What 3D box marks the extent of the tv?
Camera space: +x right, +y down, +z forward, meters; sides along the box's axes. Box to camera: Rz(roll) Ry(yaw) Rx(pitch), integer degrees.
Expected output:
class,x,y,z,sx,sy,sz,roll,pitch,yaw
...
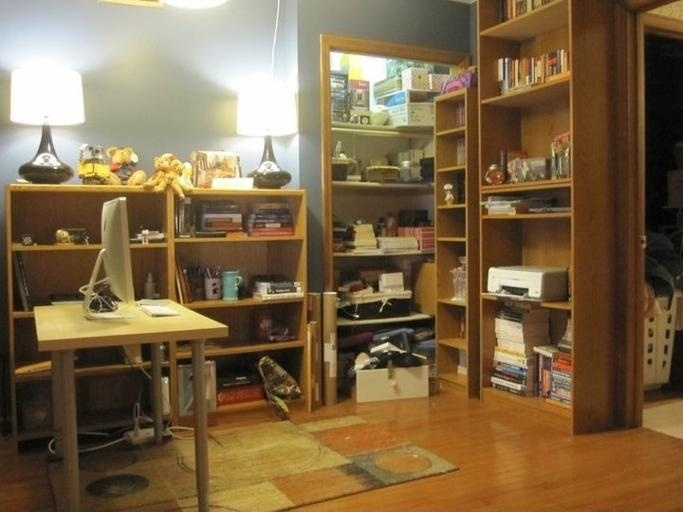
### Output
class,x,y,z,sx,sy,sz,roll,pitch,yaw
tv,-1.438,0.017,3.676,0.280,0.736,0.764,-1,2,-25

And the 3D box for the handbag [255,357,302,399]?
class,x,y,z,sx,sy,sz,roll,pitch,yaw
handbag,-0.491,0.965,4.642,0.256,0.360,0.150,-40,1,-22

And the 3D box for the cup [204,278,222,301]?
class,x,y,z,sx,sy,sz,roll,pitch,yaw
cup,-0.976,0.253,4.592,0.155,0.187,0.137,-2,6,-21

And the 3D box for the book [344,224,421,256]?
class,x,y,z,sx,sy,sz,roll,pitch,yaw
book,0.358,-0.143,5.118,0.677,0.267,0.105,-4,8,-23

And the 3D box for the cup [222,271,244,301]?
class,x,y,z,sx,sy,sz,roll,pitch,yaw
cup,-0.833,0.223,4.634,0.136,0.206,0.200,-1,8,2

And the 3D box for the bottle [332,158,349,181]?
class,x,y,z,sx,sy,sz,roll,pitch,yaw
bottle,-0.019,-0.701,4.971,0.162,0.216,0.158,0,9,0

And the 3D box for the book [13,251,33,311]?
class,x,y,z,sx,sy,sz,roll,pitch,yaw
book,-2.185,0.164,4.122,0.089,0.390,0.349,-5,9,-28

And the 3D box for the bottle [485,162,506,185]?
class,x,y,z,sx,sy,sz,roll,pitch,yaw
bottle,1.175,-0.618,4.610,0.157,0.177,0.155,0,-2,-23

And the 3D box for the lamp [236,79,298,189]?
class,x,y,z,sx,sy,sz,roll,pitch,yaw
lamp,-0.580,-0.952,4.766,0.489,0.831,0.430,-2,8,-10

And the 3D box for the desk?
class,x,y,z,sx,sy,sz,roll,pitch,yaw
desk,-1.326,0.750,3.613,0.852,0.893,1.456,0,0,-27

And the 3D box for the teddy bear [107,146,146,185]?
class,x,y,z,sx,sy,sz,roll,pitch,yaw
teddy bear,-1.589,-0.639,4.445,0.267,0.308,0.222,-2,3,-14

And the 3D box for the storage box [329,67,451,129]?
class,x,y,z,sx,sy,sz,roll,pitch,yaw
storage box,0.421,-1.350,5.072,1.054,0.518,0.172,-4,8,-22

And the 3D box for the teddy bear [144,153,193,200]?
class,x,y,z,sx,sy,sz,roll,pitch,yaw
teddy bear,-1.202,-0.573,4.360,0.234,0.318,0.397,3,9,27

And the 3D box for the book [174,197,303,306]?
class,x,y,z,sx,sy,sz,roll,pitch,yaw
book,-0.807,-0.047,4.628,0.859,0.805,0.303,-1,2,-26

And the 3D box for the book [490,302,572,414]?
class,x,y,z,sx,sy,sz,roll,pitch,yaw
book,1.439,0.767,4.475,0.317,0.774,0.824,5,-1,-29

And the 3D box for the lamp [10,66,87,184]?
class,x,y,z,sx,sy,sz,roll,pitch,yaw
lamp,-2.005,-0.900,4.134,0.452,0.799,0.281,-5,9,-28

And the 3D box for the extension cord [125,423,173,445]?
class,x,y,z,sx,sy,sz,roll,pitch,yaw
extension cord,-1.321,1.216,4.096,0.263,0.111,0.145,-3,10,-25

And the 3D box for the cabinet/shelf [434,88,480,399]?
class,x,y,z,sx,sy,sz,roll,pitch,yaw
cabinet/shelf,0.962,-0.116,4.972,0.313,2.481,0.616,-2,8,-5
